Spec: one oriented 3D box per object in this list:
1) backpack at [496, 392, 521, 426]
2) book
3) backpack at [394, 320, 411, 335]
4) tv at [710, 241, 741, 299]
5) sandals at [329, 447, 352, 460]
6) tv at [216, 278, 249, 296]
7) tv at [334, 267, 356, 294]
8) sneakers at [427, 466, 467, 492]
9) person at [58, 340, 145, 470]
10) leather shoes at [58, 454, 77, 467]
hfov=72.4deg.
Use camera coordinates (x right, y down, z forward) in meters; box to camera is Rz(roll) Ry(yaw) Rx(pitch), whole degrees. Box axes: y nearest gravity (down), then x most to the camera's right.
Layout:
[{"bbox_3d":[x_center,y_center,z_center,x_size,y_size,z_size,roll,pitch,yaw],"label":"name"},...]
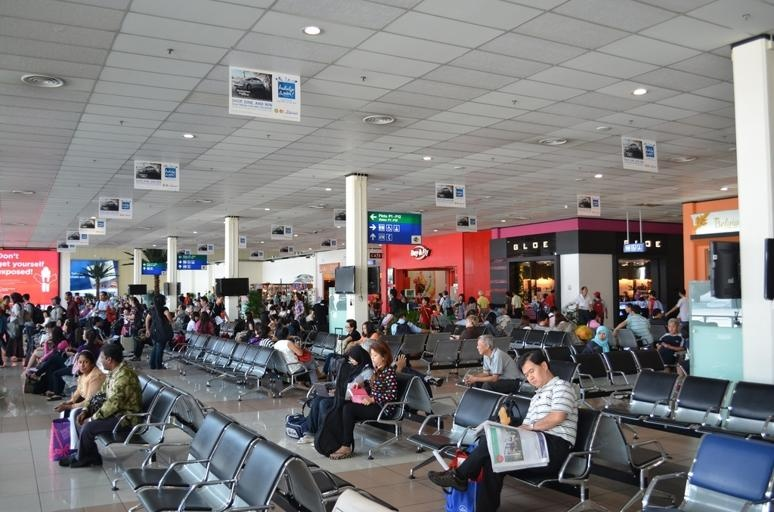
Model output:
[{"bbox_3d":[1.440,1.742,5.991,0.305,0.331,0.134,10,-3,-18],"label":"backpack"},{"bbox_3d":[1.260,1.846,5.157,0.739,0.554,0.225,0,-4,-19],"label":"book"},{"bbox_3d":[0.430,2.013,14.818,0.553,0.566,0.336,3,-11,-3],"label":"backpack"},{"bbox_3d":[4.867,0.175,7.355,0.515,0.681,0.443,-3,5,36],"label":"tv"},{"bbox_3d":[-0.621,2.617,7.006,0.276,0.079,0.136,5,-11,-16],"label":"sandals"},{"bbox_3d":[-6.286,1.250,21.260,1.565,0.670,0.914,2,-5,-27],"label":"tv"},{"bbox_3d":[-1.112,0.665,14.335,0.089,0.690,0.841,5,-7,-37],"label":"tv"},{"bbox_3d":[0.603,2.201,5.247,0.474,0.172,0.162,3,-5,12],"label":"sneakers"},{"bbox_3d":[-3.723,1.993,6.956,1.231,1.474,0.711,-3,1,-29],"label":"person"},{"bbox_3d":[-4.129,2.639,6.826,0.204,0.062,0.201,-11,8,-44],"label":"leather shoes"}]
